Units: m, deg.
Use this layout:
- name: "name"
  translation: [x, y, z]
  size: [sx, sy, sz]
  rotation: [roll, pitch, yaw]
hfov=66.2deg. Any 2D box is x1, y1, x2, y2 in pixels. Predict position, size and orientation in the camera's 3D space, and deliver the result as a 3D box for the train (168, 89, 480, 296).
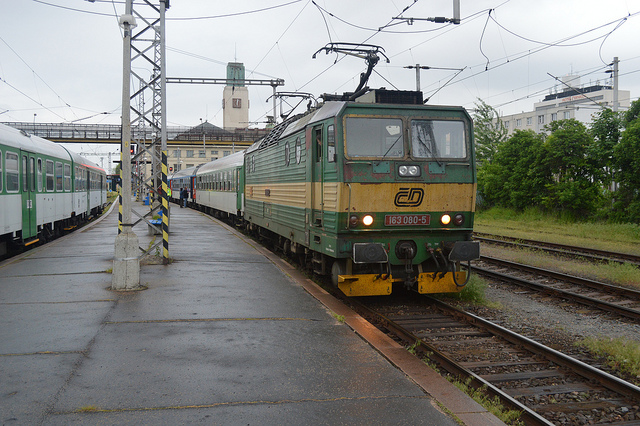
- name: "train"
  translation: [-1.171, -0.584, 18.047]
  size: [3.400, 5.046, 17.299]
  rotation: [-1, 0, -20]
